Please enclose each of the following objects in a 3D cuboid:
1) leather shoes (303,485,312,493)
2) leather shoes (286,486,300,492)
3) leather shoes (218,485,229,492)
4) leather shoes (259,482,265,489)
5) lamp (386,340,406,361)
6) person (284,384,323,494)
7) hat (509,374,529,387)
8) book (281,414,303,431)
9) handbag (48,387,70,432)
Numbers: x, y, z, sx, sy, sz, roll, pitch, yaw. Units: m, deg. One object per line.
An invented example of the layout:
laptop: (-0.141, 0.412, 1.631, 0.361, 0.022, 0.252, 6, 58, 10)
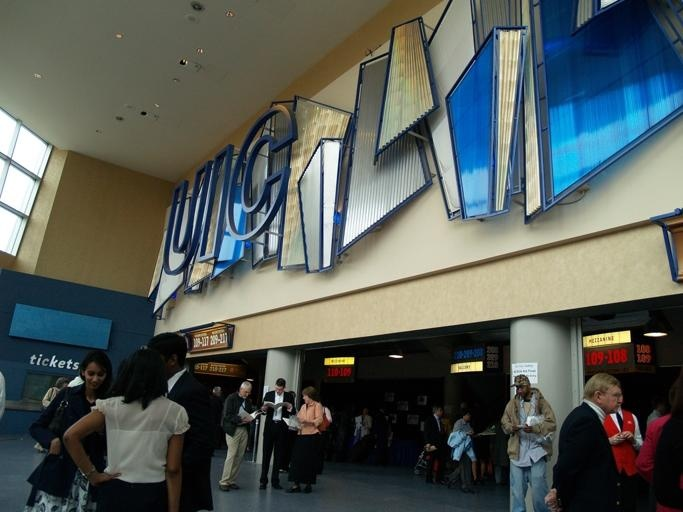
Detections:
leather shoes: (-0.530, 3.673, 7.452, 0.086, 0.122, 0.180, -3, -28, 9)
leather shoes: (-0.739, 3.644, 7.378, 0.185, 0.084, 0.104, 8, -18, -13)
leather shoes: (-1.775, 3.545, 7.214, 0.076, 0.065, 0.136, 10, -22, -34)
leather shoes: (-1.246, 3.652, 7.509, 0.061, 0.079, 0.117, 2, -28, -6)
lamp: (1.635, 2.874, 14.136, 0.686, 0.738, 0.231, 5, 19, 27)
person: (-0.543, 2.928, 7.575, 0.488, 1.575, 0.591, 5, -17, -5)
hat: (2.110, 1.460, 5.536, 0.120, 0.108, 0.193, -10, -26, 32)
book: (-0.819, 2.678, 7.522, 0.297, 0.169, 0.373, 10, 0, -35)
handbag: (-2.110, 1.192, 3.574, 0.052, 0.243, 0.125, 21, -23, -34)
